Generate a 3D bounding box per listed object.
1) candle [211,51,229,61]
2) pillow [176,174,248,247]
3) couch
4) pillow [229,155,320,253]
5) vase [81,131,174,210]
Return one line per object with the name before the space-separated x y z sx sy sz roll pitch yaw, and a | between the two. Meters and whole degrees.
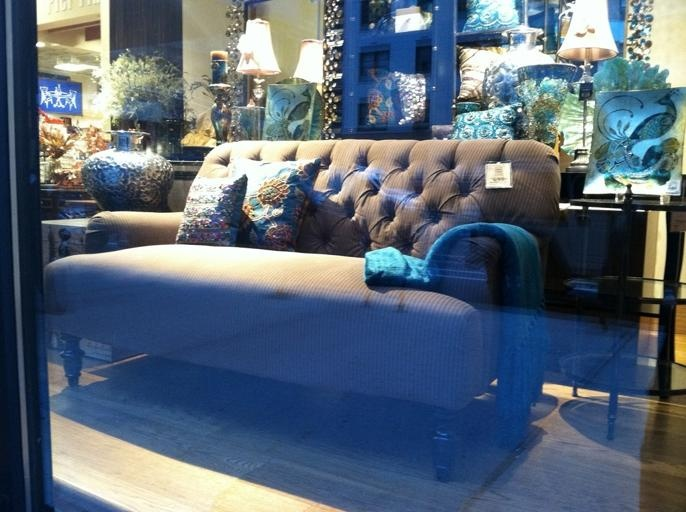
candle | -0.201 -0.323 0.926 0.023 0.014 0.023 6 11 13
pillow | -0.238 -0.083 1.062 0.136 0.125 0.033 7 -9 25
couch | -0.091 0.014 1.057 0.861 0.449 0.438 5 10 34
pillow | -0.110 -0.086 1.083 0.055 0.166 0.176 13 -5 -41
vase | -0.398 -0.147 1.044 0.141 0.148 0.171 1 6 2
